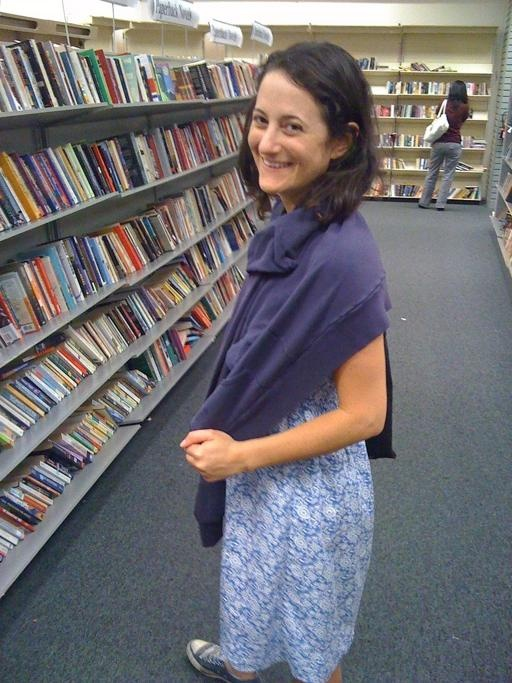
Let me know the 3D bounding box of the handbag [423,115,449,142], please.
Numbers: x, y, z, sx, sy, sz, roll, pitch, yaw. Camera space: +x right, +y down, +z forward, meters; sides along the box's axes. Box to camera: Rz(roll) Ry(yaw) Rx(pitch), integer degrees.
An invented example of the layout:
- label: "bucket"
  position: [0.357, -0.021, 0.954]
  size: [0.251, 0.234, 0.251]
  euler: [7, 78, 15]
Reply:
- label: "handbag"
  position: [3.203, -3.711, 8.308]
  size: [0.395, 0.513, 0.285]
  euler: [17, 43, 30]

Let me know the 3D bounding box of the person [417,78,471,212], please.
- label: "person"
  position: [3.442, -3.442, 8.595]
  size: [0.728, 2.216, 0.582]
  euler: [-4, 37, 6]
